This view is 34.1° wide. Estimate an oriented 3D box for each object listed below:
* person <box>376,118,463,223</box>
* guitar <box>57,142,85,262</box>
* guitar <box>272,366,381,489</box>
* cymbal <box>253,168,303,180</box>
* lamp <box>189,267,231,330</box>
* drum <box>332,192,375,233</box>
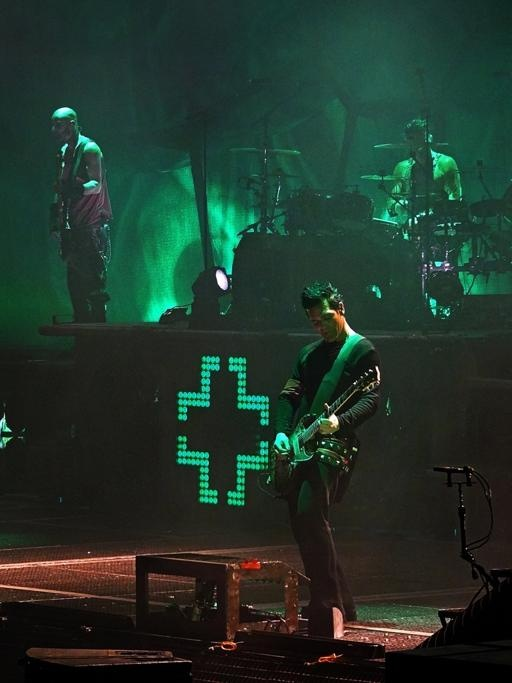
[{"bbox_3d":[1.727,-1.756,9.051,1.029,1.163,0.903,4,21,34],"label":"person"},{"bbox_3d":[-1.901,-1.414,8.454,0.277,1.224,0.163,7,12,-12],"label":"guitar"},{"bbox_3d":[0.276,0.495,4.159,0.108,0.320,0.801,9,-39,-31],"label":"guitar"},{"bbox_3d":[0.207,-1.788,8.970,0.496,0.115,0.151,-2,0,0],"label":"cymbal"},{"bbox_3d":[-0.478,-0.442,8.690,0.397,0.637,0.421,-2,0,1],"label":"lamp"},{"bbox_3d":[1.054,-1.403,9.053,0.432,0.408,0.456,-2,0,5],"label":"drum"}]
